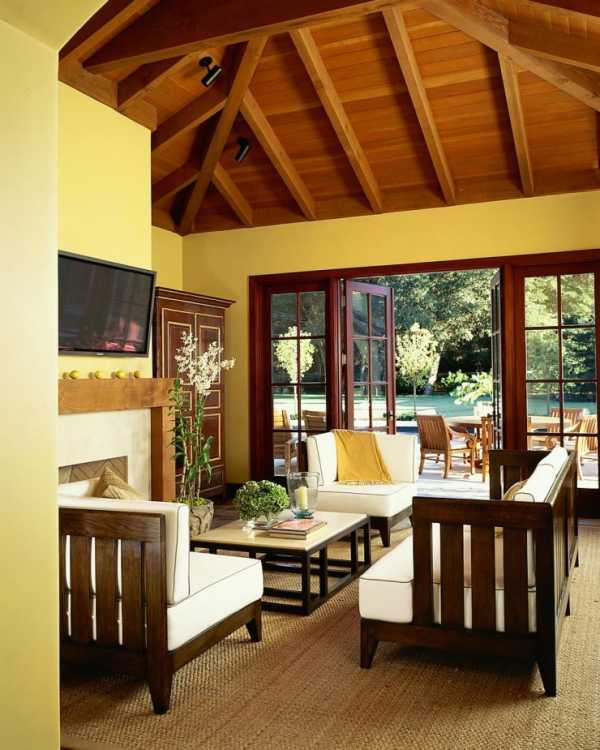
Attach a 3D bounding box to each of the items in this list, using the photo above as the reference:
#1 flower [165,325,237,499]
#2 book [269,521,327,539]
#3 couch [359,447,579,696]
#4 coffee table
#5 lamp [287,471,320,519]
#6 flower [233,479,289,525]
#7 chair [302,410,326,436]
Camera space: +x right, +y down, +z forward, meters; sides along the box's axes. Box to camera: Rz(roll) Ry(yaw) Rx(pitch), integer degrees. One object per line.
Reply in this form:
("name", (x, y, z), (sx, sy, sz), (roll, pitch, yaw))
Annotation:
("flower", (-0.920, 0.384, 5.539), (0.536, 1.715, 2.001), (-1, -3, -7))
("book", (-0.015, 0.890, 3.459), (0.237, 0.060, 0.332), (-2, -3, 23))
("couch", (0.774, 0.570, 2.719), (0.749, 0.666, 1.375), (0, -1, 24))
("coffee table", (-0.072, 1.113, 3.584), (0.590, 0.359, 0.866), (0, 3, 24))
("lamp", (0.055, 0.750, 3.670), (0.233, 0.263, 0.231), (-4, -9, 20))
("flower", (-0.254, 0.769, 3.599), (0.305, 0.222, 0.284), (4, 5, 25))
("chair", (0.162, 0.529, 6.531), (0.221, 0.374, 0.276), (2, 7, 24))
